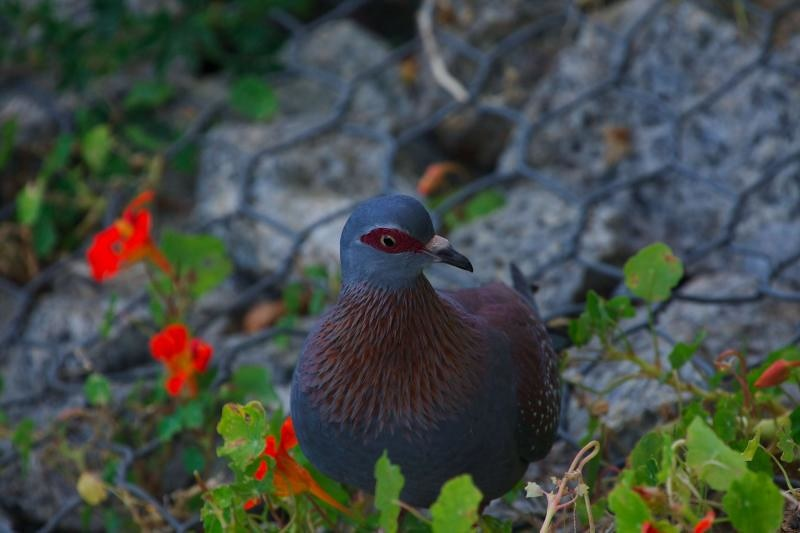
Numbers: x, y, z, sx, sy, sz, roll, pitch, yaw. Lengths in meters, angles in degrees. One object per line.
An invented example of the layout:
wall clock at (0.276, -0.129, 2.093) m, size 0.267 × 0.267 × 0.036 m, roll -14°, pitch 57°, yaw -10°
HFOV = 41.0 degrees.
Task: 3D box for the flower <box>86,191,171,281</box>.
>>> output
flower at (-0.700, -0.063, 2.726) m, size 0.189 × 0.201 × 0.186 m, roll -17°, pitch -4°, yaw -13°

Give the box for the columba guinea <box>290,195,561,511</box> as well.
columba guinea at (0.060, 0.234, 2.717) m, size 0.721 × 0.771 × 0.324 m, roll -17°, pitch -3°, yaw -7°

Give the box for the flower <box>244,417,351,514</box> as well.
flower at (-0.259, 0.506, 2.701) m, size 0.196 × 0.227 × 0.097 m, roll -58°, pitch 18°, yaw -18°

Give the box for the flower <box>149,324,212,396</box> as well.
flower at (-0.606, 0.252, 2.909) m, size 0.158 × 0.171 × 0.157 m, roll 5°, pitch 27°, yaw 1°

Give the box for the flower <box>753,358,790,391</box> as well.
flower at (0.947, 0.269, 2.693) m, size 0.099 × 0.074 × 0.108 m, roll -20°, pitch -4°, yaw 22°
